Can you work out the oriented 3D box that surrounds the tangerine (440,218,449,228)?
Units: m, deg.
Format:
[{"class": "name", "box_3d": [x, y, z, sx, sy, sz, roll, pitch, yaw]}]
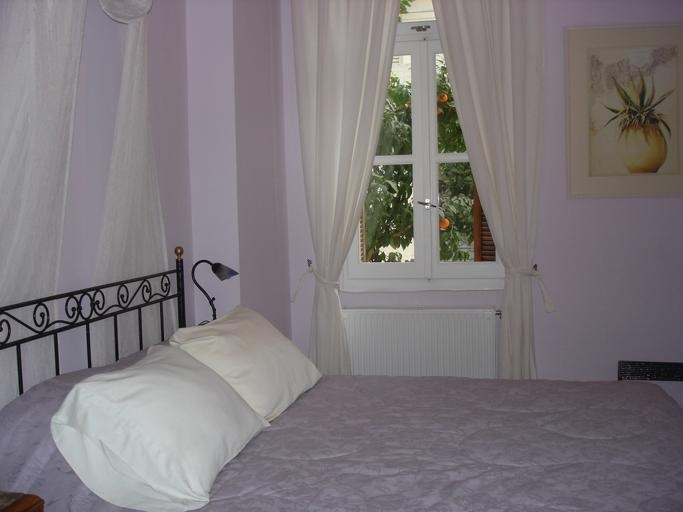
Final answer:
[{"class": "tangerine", "box_3d": [0.736, -0.223, 3.611, 0.037, 0.056, 0.066, 25, 21, 33]}]
